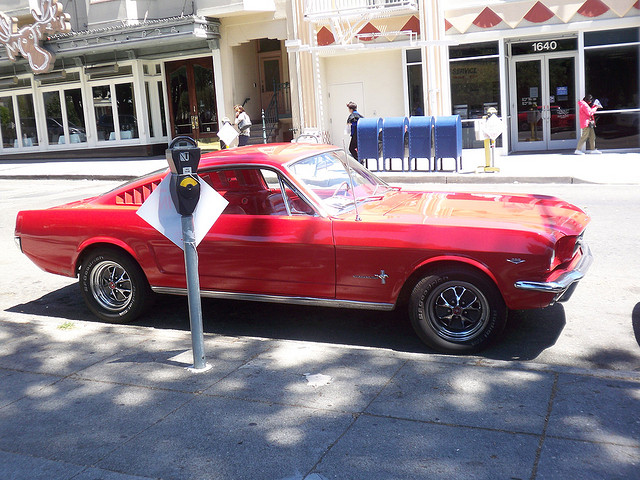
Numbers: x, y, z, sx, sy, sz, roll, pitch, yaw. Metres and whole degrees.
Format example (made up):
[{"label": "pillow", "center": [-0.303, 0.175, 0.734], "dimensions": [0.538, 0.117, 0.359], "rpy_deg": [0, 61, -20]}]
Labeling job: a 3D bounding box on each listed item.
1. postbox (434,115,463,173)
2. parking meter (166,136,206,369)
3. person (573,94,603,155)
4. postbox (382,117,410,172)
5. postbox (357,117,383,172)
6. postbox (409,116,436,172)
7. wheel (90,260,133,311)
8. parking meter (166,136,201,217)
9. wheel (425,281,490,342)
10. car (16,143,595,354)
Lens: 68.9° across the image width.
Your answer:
[{"label": "postbox", "center": [4.074, -3.046, 14.980], "dimensions": [0.804, 1.783, 0.664], "rpy_deg": [0, 9, 14]}, {"label": "parking meter", "center": [-1.074, 0.128, 3.903], "dimensions": [0.264, 1.949, 0.371], "rpy_deg": [-5, 9, -16]}, {"label": "person", "center": [10.066, -4.343, 17.541], "dimensions": [0.904, 2.270, 1.565], "rpy_deg": [3, 10, 31]}, {"label": "postbox", "center": [2.522, -3.259, 15.815], "dimensions": [1.167, 1.975, 1.287], "rpy_deg": [-2, 8, 19]}, {"label": "postbox", "center": [1.682, -3.219, 15.840], "dimensions": [0.862, 1.859, 0.884], "rpy_deg": [-2, 8, 5]}, {"label": "postbox", "center": [3.289, -3.073, 15.166], "dimensions": [0.841, 1.774, 0.529], "rpy_deg": [-1, 8, 11]}, {"label": "wheel", "center": [-2.361, 0.513, 5.313], "dimensions": [0.607, 0.595, 0.208], "rpy_deg": [10, 15, 15]}, {"label": "parking meter", "center": [-1.094, -0.500, 3.766], "dimensions": [0.255, 0.644, 0.279], "rpy_deg": [-5, 9, -17]}, {"label": "wheel", "center": [1.222, 0.610, 4.123], "dimensions": [0.532, 0.528, 0.174], "rpy_deg": [-3, 4, 11]}, {"label": "car", "center": [-0.412, 0.245, 5.196], "dimensions": [5.460, 1.624, 2.450], "rpy_deg": [1, 13, 19]}]
